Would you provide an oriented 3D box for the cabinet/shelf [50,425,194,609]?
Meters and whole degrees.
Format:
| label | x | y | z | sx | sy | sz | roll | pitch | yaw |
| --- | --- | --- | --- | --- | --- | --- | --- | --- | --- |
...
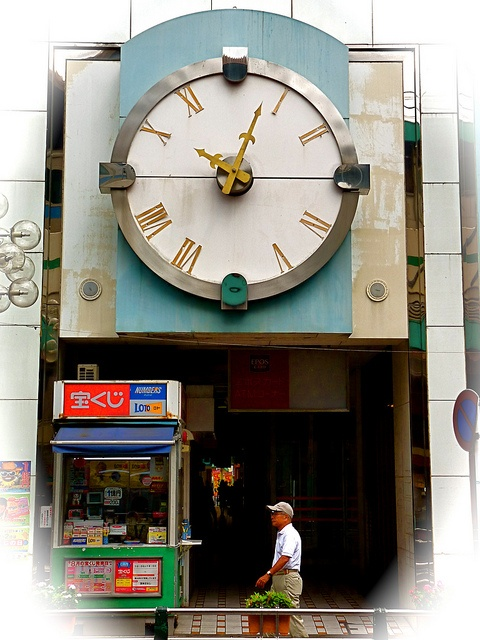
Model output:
| label | x | y | z | sx | sy | sz | roll | pitch | yaw |
| --- | --- | --- | --- | --- | --- | --- | --- | --- | --- |
| cabinet/shelf | -1.765 | 2.619 | 12.425 | 1.661 | 3.082 | 2.169 | 0 | -13 | -2 |

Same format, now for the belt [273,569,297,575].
| label | x | y | z | sx | sy | sz | roll | pitch | yaw |
| --- | --- | --- | --- | --- | --- | --- | --- | --- | --- |
| belt | 0.516 | 2.822 | 10.435 | 0.254 | 0.055 | 0.132 | -5 | -11 | 2 |
